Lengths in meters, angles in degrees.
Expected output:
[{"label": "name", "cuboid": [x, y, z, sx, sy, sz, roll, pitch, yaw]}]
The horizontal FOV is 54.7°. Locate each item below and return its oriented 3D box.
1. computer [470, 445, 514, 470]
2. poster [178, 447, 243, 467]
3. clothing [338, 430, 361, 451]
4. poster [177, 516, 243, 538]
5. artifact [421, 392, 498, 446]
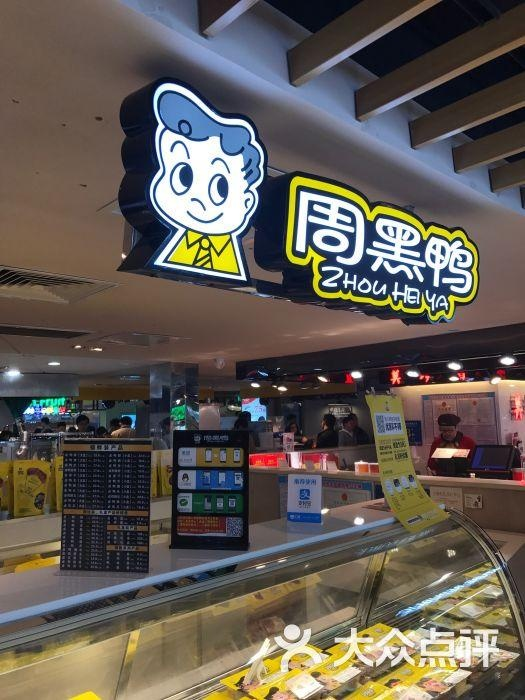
[{"label": "computer", "cuboid": [1.827, 0.853, 4.009, 0.036, 0.183, 0.255, 29, -22, -26]}, {"label": "poster", "cuboid": [-0.140, 0.288, 1.350, 0.173, 0.056, 0.008, 3, -8, 4]}, {"label": "clothing", "cuboid": [1.266, 1.327, 7.446, 0.202, 0.287, 0.407, -12, -12, 39]}, {"label": "poster", "cuboid": [-0.139, 0.462, 1.324, 0.173, 0.056, 0.009, 2, -8, 7]}, {"label": "artifact", "cuboid": [3.078, 1.155, 8.072, 1.132, 0.872, 0.383, -1, -6, 7]}]
